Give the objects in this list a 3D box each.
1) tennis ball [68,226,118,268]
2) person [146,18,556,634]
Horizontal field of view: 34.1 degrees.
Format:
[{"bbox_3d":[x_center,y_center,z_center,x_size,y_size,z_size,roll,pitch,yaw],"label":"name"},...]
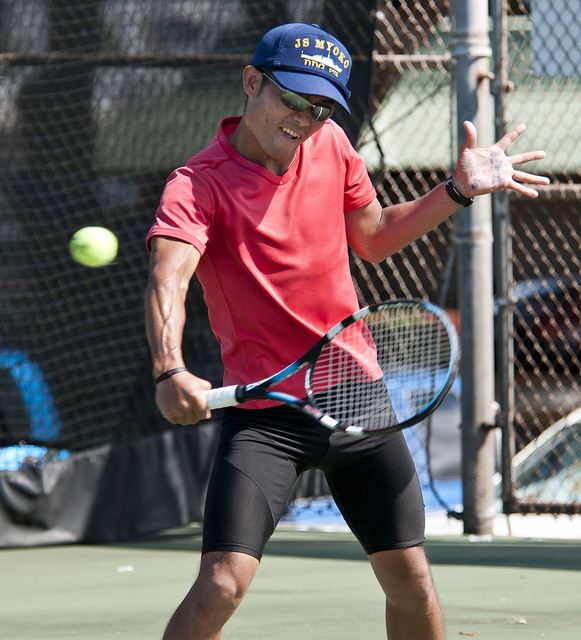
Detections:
[{"bbox_3d":[-0.920,-0.342,4.543,0.240,0.196,0.200,13,4,0],"label":"tennis ball"},{"bbox_3d":[0.089,0.063,2.539,0.905,1.542,1.145,4,25,13],"label":"person"}]
